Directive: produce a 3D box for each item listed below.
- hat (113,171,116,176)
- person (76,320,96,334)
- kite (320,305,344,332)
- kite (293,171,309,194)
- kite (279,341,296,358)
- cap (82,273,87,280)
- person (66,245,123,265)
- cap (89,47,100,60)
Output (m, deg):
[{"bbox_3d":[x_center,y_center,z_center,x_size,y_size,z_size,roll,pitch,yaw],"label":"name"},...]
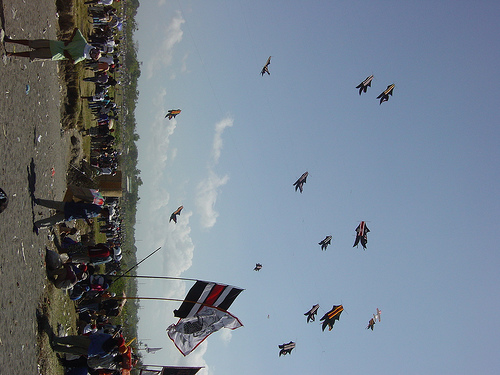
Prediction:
[{"bbox_3d":[-10.220,-1.193,87.129,0.093,0.323,0.228,2,6,-36],"label":"hat"},{"bbox_3d":[-10.476,8.904,73.814,0.847,0.866,0.692,-3,-17,4],"label":"person"},{"bbox_3d":[5.818,9.440,83.319,1.096,1.824,2.915,16,6,5],"label":"kite"},{"bbox_3d":[2.736,-0.360,62.080,0.625,1.136,0.649,32,12,32],"label":"kite"},{"bbox_3d":[2.635,12.000,85.728,0.838,1.028,2.305,17,6,7],"label":"kite"},{"bbox_3d":[-10.356,5.510,72.369,0.440,0.497,0.112,3,0,-29],"label":"cap"},{"bbox_3d":[-9.881,4.255,73.485,3.132,1.154,1.349,17,6,-6],"label":"person"},{"bbox_3d":[-9.575,-8.447,71.770,0.400,0.587,0.671,19,6,34],"label":"cap"}]
